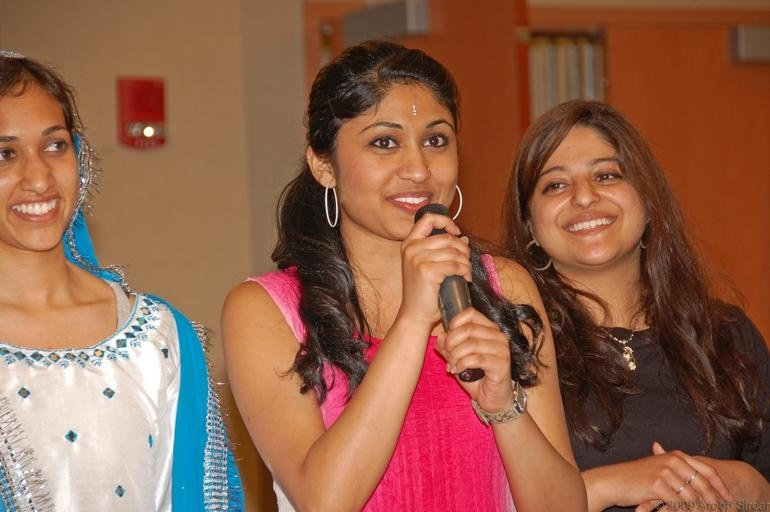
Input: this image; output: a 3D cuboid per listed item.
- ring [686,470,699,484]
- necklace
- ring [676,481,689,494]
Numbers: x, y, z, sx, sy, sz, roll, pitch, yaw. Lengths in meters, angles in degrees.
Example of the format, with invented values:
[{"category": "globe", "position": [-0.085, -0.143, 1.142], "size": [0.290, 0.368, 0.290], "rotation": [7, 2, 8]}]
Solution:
[{"category": "ring", "position": [1.087, 0.776, 2.933], "size": [0.008, 0.032, 0.034], "rotation": [34, 14, 10]}, {"category": "necklace", "position": [0.805, 0.308, 3.400], "size": [0.266, 0.264, 0.326], "rotation": [-18, -8, -17]}, {"category": "ring", "position": [1.051, 0.809, 2.925], "size": [0.009, 0.041, 0.040], "rotation": [39, -7, 4]}]
